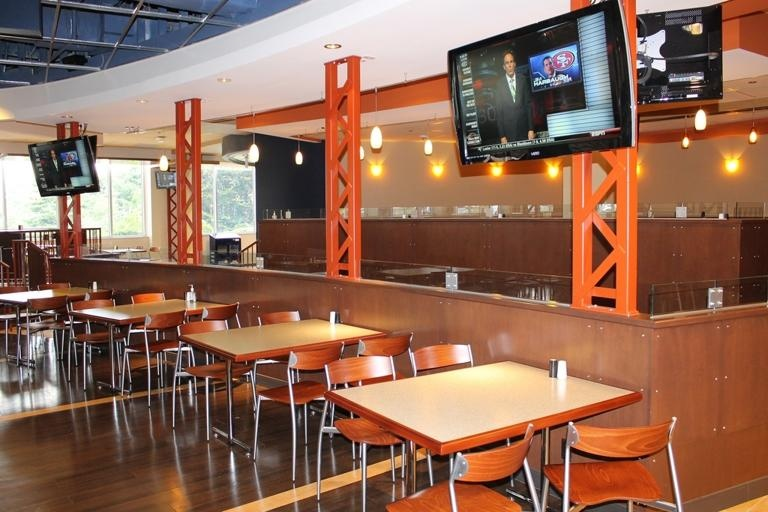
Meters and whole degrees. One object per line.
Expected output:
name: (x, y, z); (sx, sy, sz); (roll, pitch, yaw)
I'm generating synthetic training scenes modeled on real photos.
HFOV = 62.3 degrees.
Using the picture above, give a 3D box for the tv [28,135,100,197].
tv: (-5.668, -1.606, 11.305); (1.637, 1.045, 0.389); (7, 14, 35)

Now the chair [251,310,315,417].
chair: (-1.324, 1.090, 7.723); (0.851, 1.414, 0.888); (-3, 6, -36)

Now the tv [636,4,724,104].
tv: (3.076, -2.095, 6.609); (0.869, 0.974, 0.244); (-1, 12, -3)

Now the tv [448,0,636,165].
tv: (1.398, -1.511, 5.552); (1.749, 1.195, 0.245); (-8, 8, 37)

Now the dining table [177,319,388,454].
dining table: (-1.175, 0.890, 6.787); (2.233, 1.162, 1.253); (-6, 11, -44)

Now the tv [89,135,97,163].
tv: (-5.029, -1.882, 10.961); (0.107, 0.407, 0.203); (-3, 12, -10)

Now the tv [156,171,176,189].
tv: (-5.778, -2.046, 16.816); (0.715, 0.477, 0.389); (-1, 2, -44)

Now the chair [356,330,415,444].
chair: (0.037, 1.075, 6.666); (0.525, 0.745, 0.537); (-5, 10, -40)
